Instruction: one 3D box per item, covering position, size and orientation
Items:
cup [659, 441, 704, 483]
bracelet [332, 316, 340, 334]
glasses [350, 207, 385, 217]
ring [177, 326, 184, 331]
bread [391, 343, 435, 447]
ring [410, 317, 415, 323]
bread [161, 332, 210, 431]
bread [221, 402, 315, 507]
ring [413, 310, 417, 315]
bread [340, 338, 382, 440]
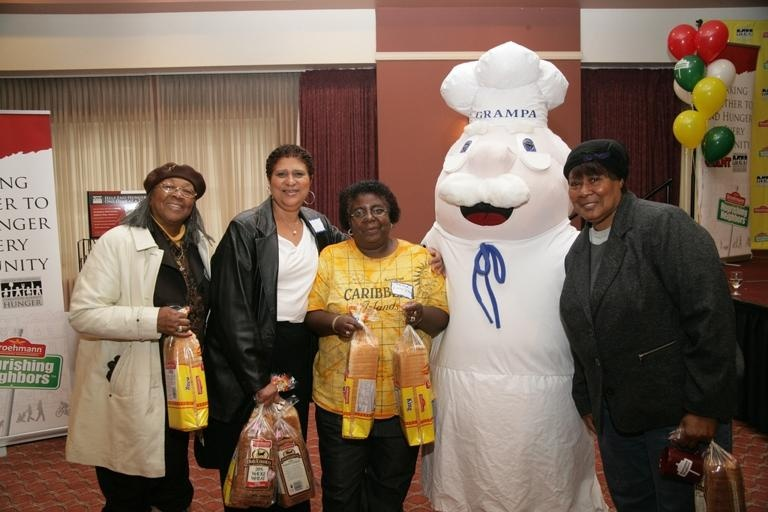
[{"bbox_3d":[1.512,1.029,2.884,0.219,0.241,0.137,8,-9,6],"label":"cup"},{"bbox_3d":[-0.279,0.395,3.234,0.030,0.093,0.062,-3,0,-25],"label":"bracelet"},{"bbox_3d":[-0.090,-0.254,3.294,0.200,0.065,0.052,-3,0,-1],"label":"glasses"},{"bbox_3d":[-1.176,0.424,3.255,0.042,0.025,0.030,-2,-8,-19],"label":"ring"},{"bbox_3d":[0.171,0.810,3.239,0.207,0.591,0.128,-3,0,1],"label":"bread"},{"bbox_3d":[0.163,0.367,3.247,0.024,0.010,0.036,-1,15,2],"label":"ring"},{"bbox_3d":[-1.168,0.756,3.301,0.238,0.583,0.204,-3,0,-17],"label":"bread"},{"bbox_3d":[-0.694,1.160,3.273,0.580,0.742,0.391,4,-5,-17],"label":"bread"},{"bbox_3d":[0.177,0.327,3.243,0.020,0.029,0.007,4,2,-1],"label":"ring"},{"bbox_3d":[-0.137,0.737,3.224,0.231,0.605,0.107,-3,0,-4],"label":"bread"}]
